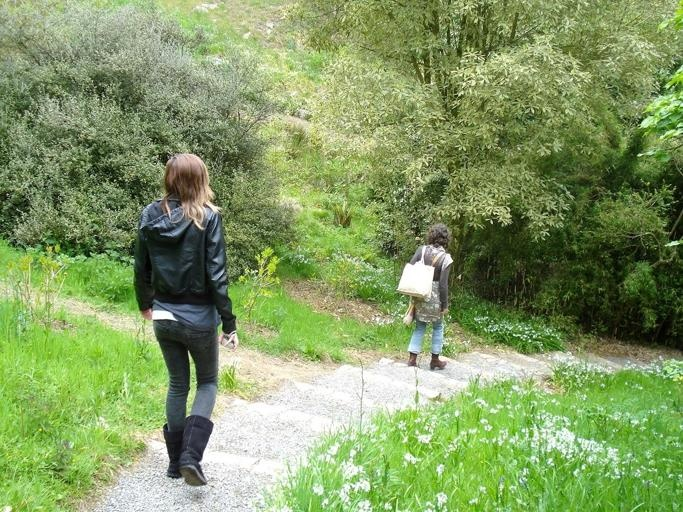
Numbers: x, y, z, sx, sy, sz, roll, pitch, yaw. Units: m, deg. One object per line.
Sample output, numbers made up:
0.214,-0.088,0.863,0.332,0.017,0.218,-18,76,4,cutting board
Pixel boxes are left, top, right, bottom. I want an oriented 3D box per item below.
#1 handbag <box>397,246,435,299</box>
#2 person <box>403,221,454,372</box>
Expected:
1.217,0.252,9.711,0.544,0.872,0.340,7,0,9,handbag
1.461,0.622,10.043,0.803,2.596,0.768,5,15,6,person
